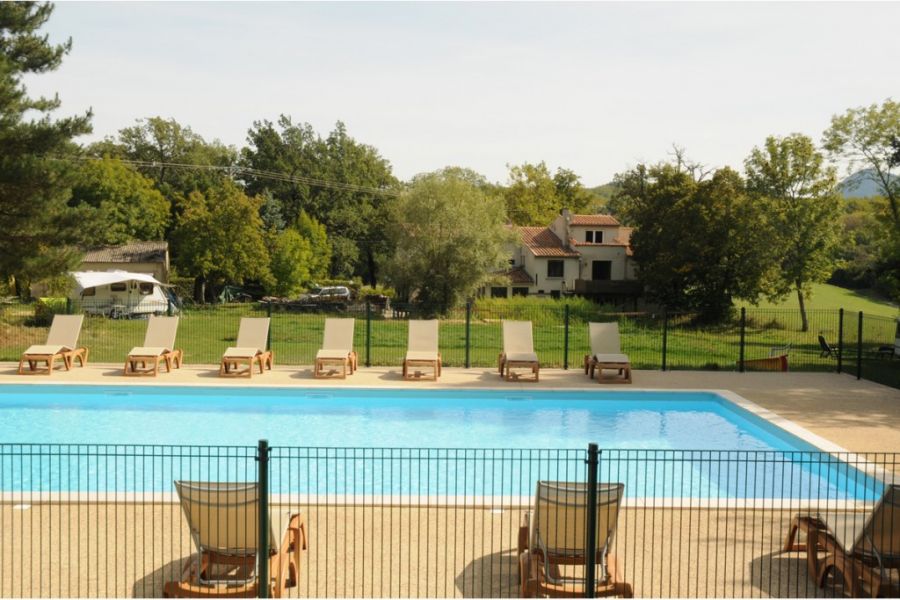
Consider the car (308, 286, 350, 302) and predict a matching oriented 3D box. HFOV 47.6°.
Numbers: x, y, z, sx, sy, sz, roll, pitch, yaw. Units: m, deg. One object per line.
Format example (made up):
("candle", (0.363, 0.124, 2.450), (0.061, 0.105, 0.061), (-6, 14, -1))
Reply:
("car", (-8.782, -0.834, 75.187), (2.708, 1.411, 1.456), (3, -2, -12))
